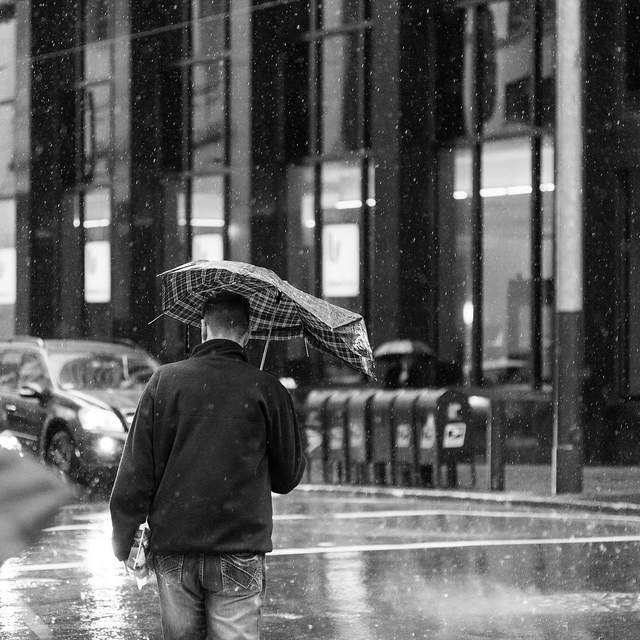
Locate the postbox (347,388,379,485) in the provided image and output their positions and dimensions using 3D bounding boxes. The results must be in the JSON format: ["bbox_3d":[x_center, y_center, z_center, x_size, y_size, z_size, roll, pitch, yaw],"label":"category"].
[{"bbox_3d":[0.508,1.452,17.144,0.275,1.210,0.347,-3,6,-28],"label":"postbox"}]

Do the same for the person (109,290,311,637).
[{"bbox_3d":[-0.526,0.679,6.892,0.836,1.603,0.536,3,4,11],"label":"person"}]

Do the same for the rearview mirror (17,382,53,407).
[{"bbox_3d":[-3.127,0.863,15.932,0.322,0.130,0.258,36,-5,11],"label":"rearview mirror"}]

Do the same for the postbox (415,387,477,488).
[{"bbox_3d":[1.396,1.357,16.423,0.347,1.244,0.486,-7,11,-35],"label":"postbox"}]

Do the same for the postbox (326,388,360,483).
[{"bbox_3d":[0.274,1.394,17.357,0.317,1.184,0.318,-5,8,-29],"label":"postbox"}]

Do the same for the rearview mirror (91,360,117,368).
[{"bbox_3d":[-2.499,0.511,16.738,0.113,0.082,0.371,5,5,34],"label":"rearview mirror"}]

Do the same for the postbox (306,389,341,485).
[{"bbox_3d":[-0.032,1.465,17.722,0.361,1.151,0.330,0,8,27],"label":"postbox"}]

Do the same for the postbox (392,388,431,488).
[{"bbox_3d":[1.029,1.391,16.680,0.462,1.245,0.387,0,-13,-6],"label":"postbox"}]
